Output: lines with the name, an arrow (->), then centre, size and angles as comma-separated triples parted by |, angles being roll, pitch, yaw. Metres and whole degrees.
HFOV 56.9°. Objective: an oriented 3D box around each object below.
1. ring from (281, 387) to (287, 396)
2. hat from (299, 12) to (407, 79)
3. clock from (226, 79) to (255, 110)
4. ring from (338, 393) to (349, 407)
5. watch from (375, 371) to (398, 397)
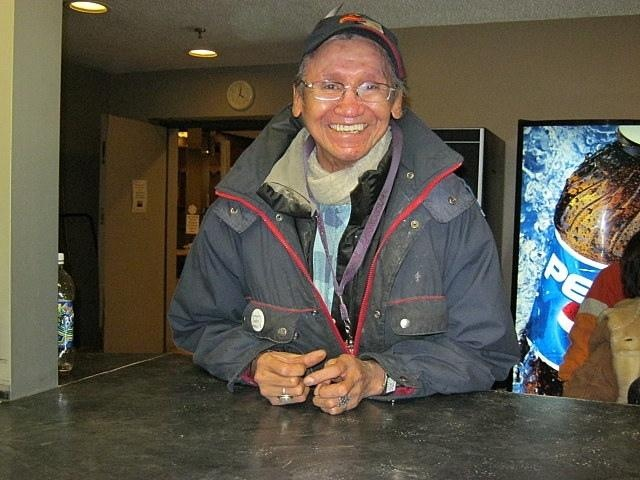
ring -> -0.075, 0.315, 1.219 | 0.011, 0.022, 0.012 | 0, -9, 0
hat -> 0.097, -0.507, 1.524 | 0.284, 0.171, 0.169 | 0, 9, -5
clock -> -0.690, -1.262, 5.132 | 0.244, 0.253, 0.059 | 8, 5, 26
ring -> 0.046, 0.321, 1.187 | 0.016, 0.023, 0.007 | 6, 2, -23
watch -> 0.144, 0.305, 1.269 | 0.042, 0.045, 0.033 | 23, -1, 14
